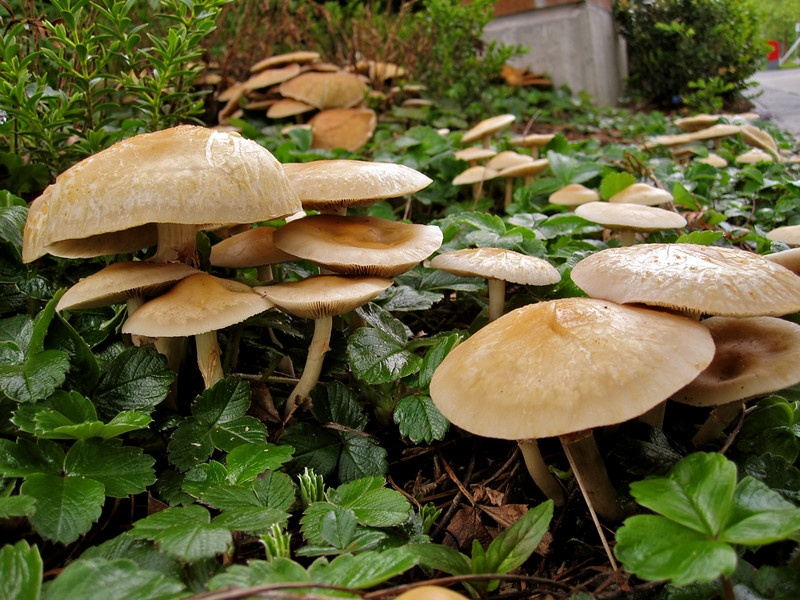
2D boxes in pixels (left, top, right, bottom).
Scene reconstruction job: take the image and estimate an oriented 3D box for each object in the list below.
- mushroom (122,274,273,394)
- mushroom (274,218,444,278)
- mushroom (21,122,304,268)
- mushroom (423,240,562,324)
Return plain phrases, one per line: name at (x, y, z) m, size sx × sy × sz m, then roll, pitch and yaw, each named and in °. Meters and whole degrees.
mushroom at (-0.724, 0.033, 2.902) m, size 0.575 × 0.385 × 0.487 m, roll -15°, pitch 30°, yaw 9°
mushroom at (-0.164, -0.185, 3.118) m, size 0.705 × 0.159 × 0.670 m, roll -3°, pitch 11°, yaw -18°
mushroom at (-1.005, -0.484, 2.990) m, size 1.152 × 0.443 × 1.035 m, roll 0°, pitch 15°, yaw 20°
mushroom at (0.458, -0.064, 3.218) m, size 0.652 × 0.269 × 0.586 m, roll 7°, pitch -3°, yaw -17°
